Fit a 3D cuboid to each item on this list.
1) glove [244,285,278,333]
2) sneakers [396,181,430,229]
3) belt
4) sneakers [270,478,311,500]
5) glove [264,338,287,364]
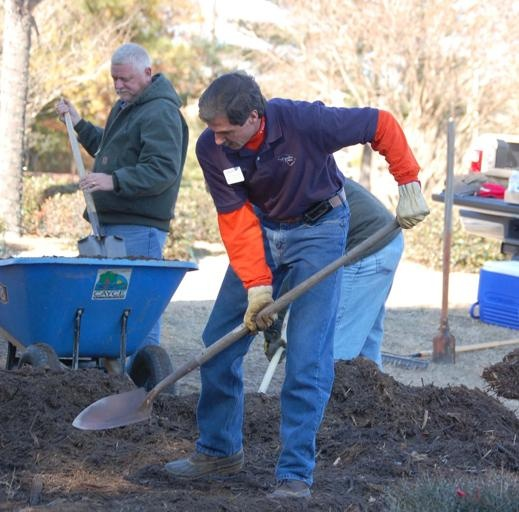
[{"bbox_3d":[-0.005,0.416,9.666,0.114,0.352,0.254,14,-10,1],"label":"glove"},{"bbox_3d":[1.219,-0.402,9.733,0.293,0.356,0.127,-22,-19,26],"label":"sneakers"},{"bbox_3d":[0.461,-0.365,9.812,0.381,0.094,0.285,-32,6,-1],"label":"belt"},{"bbox_3d":[0.252,1.835,9.483,0.335,0.154,0.127,8,-8,-18],"label":"sneakers"},{"bbox_3d":[0.151,0.878,11.305,0.161,0.243,0.086,8,9,28],"label":"glove"}]
